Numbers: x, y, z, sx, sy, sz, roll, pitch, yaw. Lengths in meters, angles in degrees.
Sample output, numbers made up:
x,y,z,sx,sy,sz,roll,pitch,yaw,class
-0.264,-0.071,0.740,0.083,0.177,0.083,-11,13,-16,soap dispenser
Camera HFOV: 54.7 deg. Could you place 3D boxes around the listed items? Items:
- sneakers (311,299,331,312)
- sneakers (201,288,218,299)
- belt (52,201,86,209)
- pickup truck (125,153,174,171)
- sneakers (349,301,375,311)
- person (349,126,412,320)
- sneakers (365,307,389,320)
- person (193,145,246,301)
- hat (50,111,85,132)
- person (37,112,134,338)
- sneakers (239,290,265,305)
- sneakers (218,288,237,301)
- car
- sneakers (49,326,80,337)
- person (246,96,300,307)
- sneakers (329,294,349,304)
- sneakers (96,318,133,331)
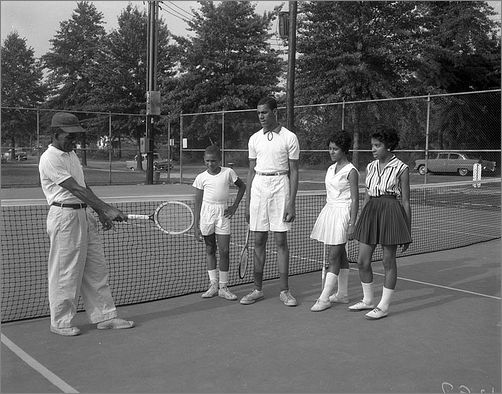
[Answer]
x,y,z,sx,sy,sz,roll,pitch,yaw,class
0.845,1.300,5.801,0.099,0.113,0.268,-9,-9,42,sneakers
-0.514,1.226,6.185,0.088,0.130,0.272,-3,-10,28,sneakers
-1.848,0.090,4.926,0.330,0.080,0.108,-2,7,-26,belt
-6.320,-2.108,29.784,2.744,1.315,1.860,1,5,29,pickup truck
1.351,1.299,5.840,0.291,0.142,0.116,-1,-4,0,sneakers
1.514,0.298,5.560,0.660,2.184,0.489,2,6,14,person
1.466,1.328,5.559,0.247,0.110,0.102,0,-1,-30,sneakers
-0.406,0.323,6.278,0.656,1.927,0.583,1,6,-1,person
-1.846,-0.743,4.932,0.315,0.196,0.253,4,6,9,hat
-1.740,0.282,4.961,0.794,2.263,0.656,-2,7,-22,person
0.025,1.252,6.071,0.325,0.158,0.119,3,-4,-44,sneakers
-0.296,1.237,6.205,0.099,0.132,0.289,-3,1,-38,sneakers
9.546,-1.537,22.332,3.012,1.123,1.378,3,4,30,car
-1.899,1.366,4.969,0.250,0.120,0.123,-2,-1,14,sneakers
0.260,0.061,5.962,0.689,2.517,0.399,1,6,6,person
1.127,1.288,6.090,0.263,0.135,0.112,4,0,6,sneakers
-1.437,1.358,5.143,0.384,0.187,0.153,0,0,-6,sneakers
